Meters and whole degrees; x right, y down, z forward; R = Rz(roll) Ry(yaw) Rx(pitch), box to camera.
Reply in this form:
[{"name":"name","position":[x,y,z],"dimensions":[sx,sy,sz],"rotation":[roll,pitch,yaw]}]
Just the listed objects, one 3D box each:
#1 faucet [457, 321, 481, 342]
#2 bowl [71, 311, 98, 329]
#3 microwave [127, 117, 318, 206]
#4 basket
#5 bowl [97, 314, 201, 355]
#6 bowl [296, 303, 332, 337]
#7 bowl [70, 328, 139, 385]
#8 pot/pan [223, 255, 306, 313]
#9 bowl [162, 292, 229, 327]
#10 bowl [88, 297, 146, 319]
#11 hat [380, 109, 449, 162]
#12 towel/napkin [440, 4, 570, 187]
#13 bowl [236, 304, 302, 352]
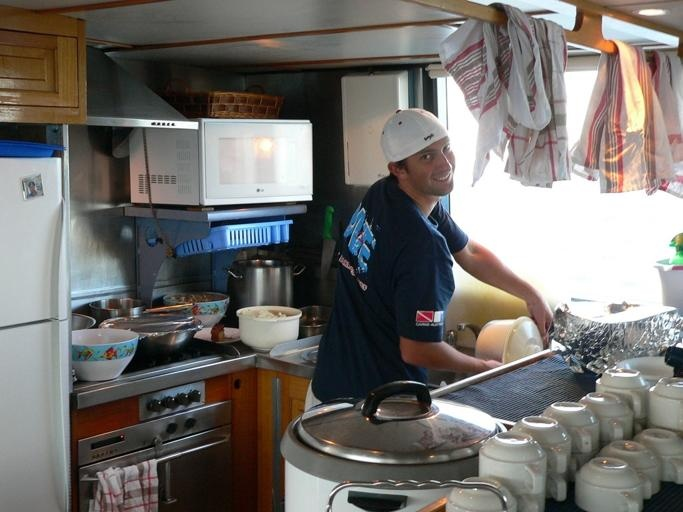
[{"name":"faucet","position":[0.667,0.396,2.935],"dimensions":[0.067,0.136,0.215],"rotation":[-2,-3,35]},{"name":"bowl","position":[-1.216,0.309,2.648],"dimensions":[0.092,0.031,0.093],"rotation":[2,7,0]},{"name":"microwave","position":[-0.612,-0.489,2.932],"dimensions":[0.932,0.449,0.389],"rotation":[-3,3,-18]},{"name":"basket","position":[-0.602,-0.783,2.913],"dimensions":[0.606,0.169,0.227],"rotation":[-3,3,-17]},{"name":"bowl","position":[-0.853,0.382,2.694],"dimensions":[0.394,0.125,0.406],"rotation":[-2,-6,0]},{"name":"bowl","position":[-0.153,0.346,3.022],"dimensions":[0.174,0.078,0.239],"rotation":[1,14,4]},{"name":"bowl","position":[-1.018,0.414,2.391],"dimensions":[0.232,0.129,0.236],"rotation":[-2,-1,0]},{"name":"pot/pan","position":[-0.449,0.148,3.110],"dimensions":[0.417,0.369,0.269],"rotation":[0,2,-1]},{"name":"bowl","position":[-0.771,0.257,3.096],"dimensions":[0.223,0.111,0.223],"rotation":[0,0,0]},{"name":"bowl","position":[-1.143,0.262,2.870],"dimensions":[0.167,0.123,0.140],"rotation":[-1,5,-34]},{"name":"hat","position":[0.244,-0.416,1.908],"dimensions":[0.206,0.134,0.161],"rotation":[-26,17,17]},{"name":"towel/napkin","position":[0.467,-0.448,1.602],"dimensions":[0.370,0.496,0.187],"rotation":[-2,2,8]},{"name":"bowl","position":[-0.364,0.359,2.803],"dimensions":[0.254,0.202,0.269],"rotation":[-2,3,0]}]
